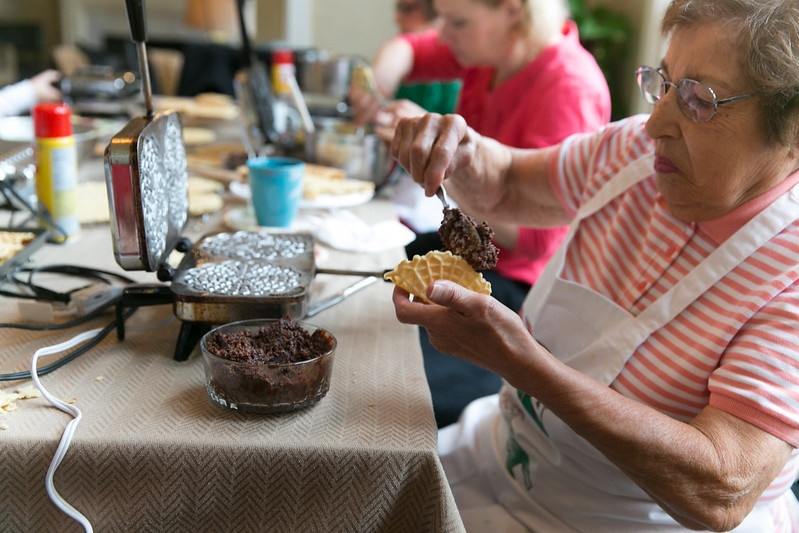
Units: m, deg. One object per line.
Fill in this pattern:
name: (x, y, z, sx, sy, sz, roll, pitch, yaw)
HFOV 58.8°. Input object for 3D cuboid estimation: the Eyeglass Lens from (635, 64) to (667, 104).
Eyeglass Lens: (0.492, -0.364, 1.430, 0.069, 0.026, 0.067, -3, 48, -8)

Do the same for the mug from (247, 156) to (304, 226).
mug: (-0.298, -0.199, 1.896, 0.169, 0.183, 0.167, 2, 6, 2)

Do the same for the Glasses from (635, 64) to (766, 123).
Glasses: (0.538, -0.324, 1.334, 0.143, 0.044, 0.143, -10, 33, -29)
